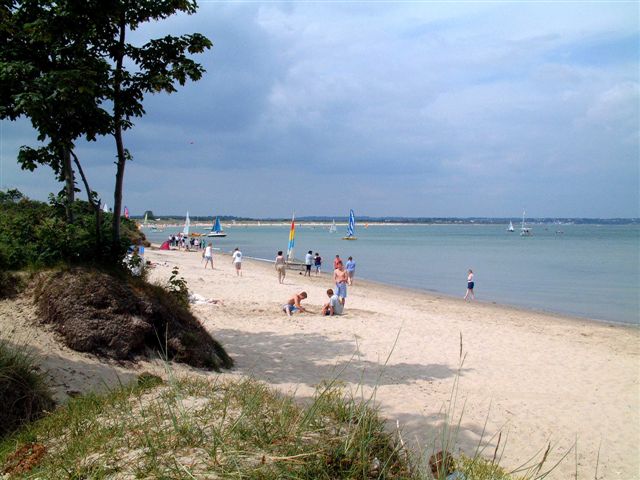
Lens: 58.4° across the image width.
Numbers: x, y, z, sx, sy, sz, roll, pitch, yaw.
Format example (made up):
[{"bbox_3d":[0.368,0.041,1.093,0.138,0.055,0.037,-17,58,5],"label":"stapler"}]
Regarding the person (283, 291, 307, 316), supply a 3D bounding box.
[{"bbox_3d":[-0.971,2.370,21.794,0.767,0.854,2.455,8,-3,-2],"label":"person"}]
